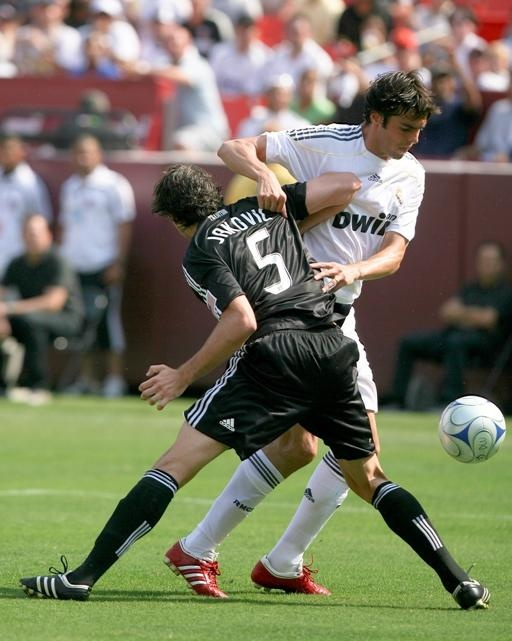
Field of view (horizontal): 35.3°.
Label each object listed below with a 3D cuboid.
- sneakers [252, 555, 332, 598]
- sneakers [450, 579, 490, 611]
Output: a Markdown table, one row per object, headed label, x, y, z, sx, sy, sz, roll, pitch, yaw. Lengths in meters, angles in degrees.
| label | x | y | z | sx | sy | sz | roll | pitch | yaw |
| --- | --- | --- | --- | --- | --- | --- | --- | --- | --- |
| sneakers | 0.178 | 0.988 | 3.105 | 0.354 | 0.120 | 0.110 | 13 | -9 | -8 |
| sneakers | 0.667 | 0.868 | 2.526 | 0.095 | 0.074 | 0.138 | -6 | -19 | 11 |
